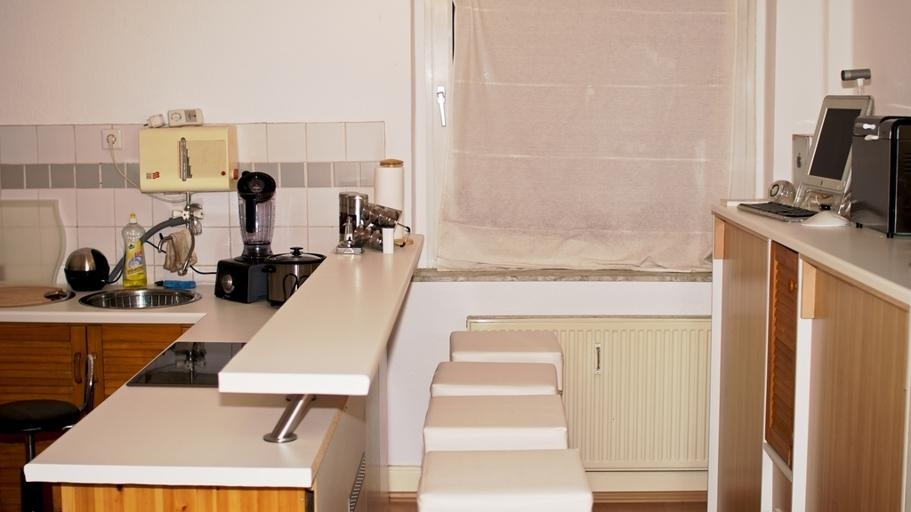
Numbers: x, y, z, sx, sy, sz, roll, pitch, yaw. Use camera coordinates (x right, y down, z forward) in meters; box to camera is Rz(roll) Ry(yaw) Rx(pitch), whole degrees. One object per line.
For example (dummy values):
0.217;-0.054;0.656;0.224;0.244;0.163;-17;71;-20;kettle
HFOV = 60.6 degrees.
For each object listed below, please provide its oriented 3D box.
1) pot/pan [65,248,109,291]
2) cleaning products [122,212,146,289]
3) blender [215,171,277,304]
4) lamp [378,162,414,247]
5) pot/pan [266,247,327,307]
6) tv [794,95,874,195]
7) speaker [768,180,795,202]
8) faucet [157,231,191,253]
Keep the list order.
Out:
-2.302;0.077;4.884;0.287;0.264;0.270;0;5;-8;pot/pan
-2.079;-0.042;5.017;0.157;0.456;0.242;-6;12;-20;cleaning products
-1.255;-0.092;4.794;0.328;0.906;0.338;-2;2;-28;blender
-0.366;-0.324;4.626;0.191;0.538;0.152;-2;3;-33;lamp
-0.955;0.121;4.595;0.333;0.322;0.274;-4;11;-13;pot/pan
1.955;-0.582;4.022;0.157;0.472;0.335;-4;11;-14;tv
1.790;-0.353;4.299;0.128;0.118;0.121;7;-1;45;speaker
-1.790;-0.089;4.975;0.135;0.117;0.070;-5;23;-31;faucet
